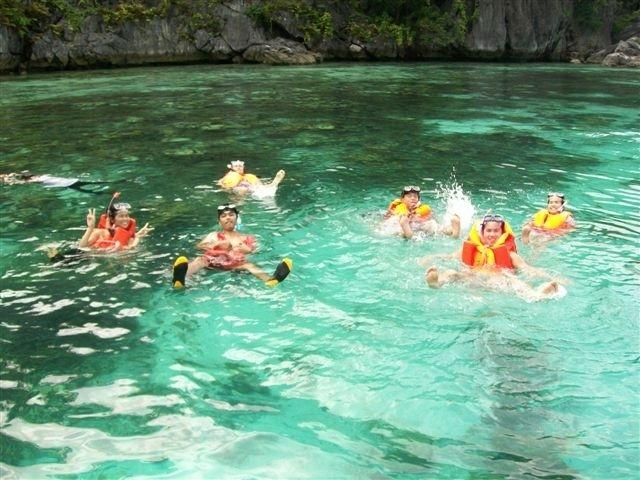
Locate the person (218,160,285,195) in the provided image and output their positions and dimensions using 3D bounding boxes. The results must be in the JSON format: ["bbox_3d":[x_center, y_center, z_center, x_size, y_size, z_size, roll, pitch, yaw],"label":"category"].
[{"bbox_3d":[-1.681,-1.437,12.230,0.966,0.490,1.585,-15,16,-33],"label":"person"}]

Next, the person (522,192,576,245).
[{"bbox_3d":[3.936,-0.439,9.829,1.407,0.541,0.912,-24,25,-37],"label":"person"}]

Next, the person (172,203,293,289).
[{"bbox_3d":[-1.408,0.096,8.758,1.865,0.641,1.648,-2,26,-1],"label":"person"}]

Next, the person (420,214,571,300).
[{"bbox_3d":[2.634,0.287,8.489,1.935,0.704,2.059,-5,21,15],"label":"person"}]

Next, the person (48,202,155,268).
[{"bbox_3d":[-3.794,-0.197,9.119,1.858,0.715,0.942,-15,34,-35],"label":"person"}]
